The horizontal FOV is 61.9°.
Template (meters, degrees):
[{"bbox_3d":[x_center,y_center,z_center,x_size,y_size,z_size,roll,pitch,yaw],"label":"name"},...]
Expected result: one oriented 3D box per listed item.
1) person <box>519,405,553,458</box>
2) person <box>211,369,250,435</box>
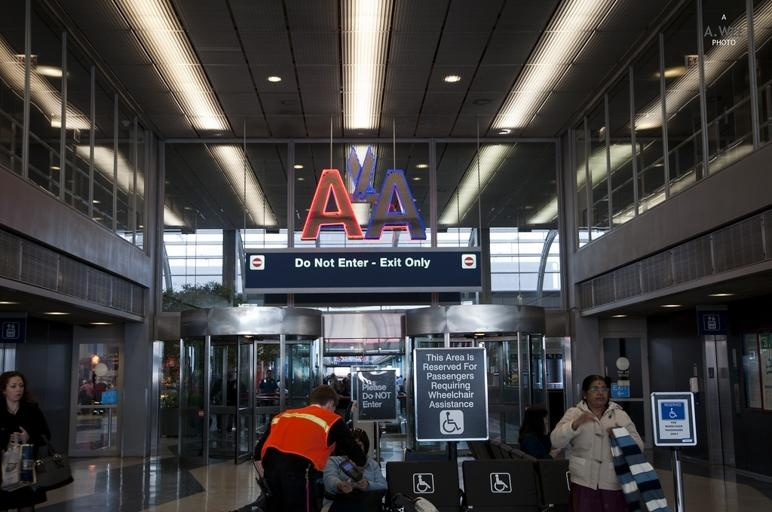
[{"bbox_3d":[2.192,2.666,9.355,0.496,0.885,0.893,-2,-1,18],"label":"person"},{"bbox_3d":[-3.673,3.427,15.207,0.789,1.479,0.363,1,-6,-15],"label":"person"}]
